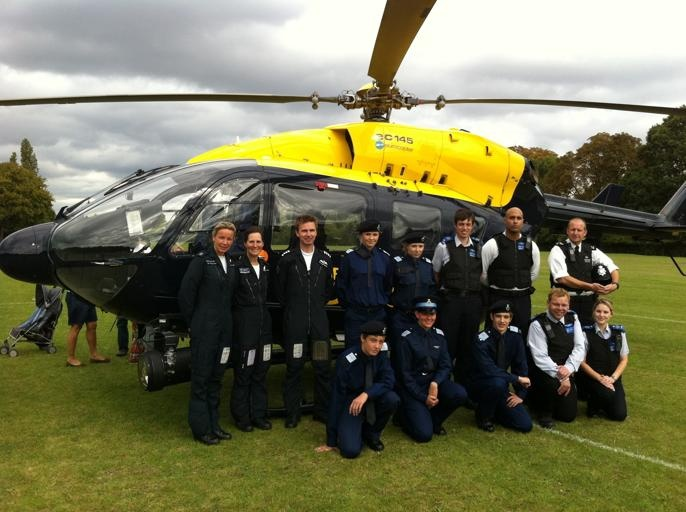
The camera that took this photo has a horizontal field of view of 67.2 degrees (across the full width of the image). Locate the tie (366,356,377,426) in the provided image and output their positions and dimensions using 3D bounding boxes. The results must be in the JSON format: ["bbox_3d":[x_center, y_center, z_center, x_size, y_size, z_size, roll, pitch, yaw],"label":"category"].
[{"bbox_3d":[0.289,1.466,5.497,0.127,0.655,0.257,2,10,-3],"label":"tie"}]

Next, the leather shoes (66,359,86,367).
[{"bbox_3d":[-4.036,1.643,7.804,0.302,0.098,0.093,1,-1,4],"label":"leather shoes"}]

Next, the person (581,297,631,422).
[{"bbox_3d":[3.247,1.281,6.407,0.579,1.418,0.509,6,11,22],"label":"person"}]

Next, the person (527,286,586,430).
[{"bbox_3d":[2.578,1.211,6.211,0.689,1.594,0.611,3,10,7],"label":"person"}]

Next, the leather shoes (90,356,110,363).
[{"bbox_3d":[-3.778,1.625,8.096,0.355,0.114,0.104,0,1,-13],"label":"leather shoes"}]

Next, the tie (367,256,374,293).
[{"bbox_3d":[0.315,0.207,6.091,0.071,0.333,0.146,3,10,2],"label":"tie"}]

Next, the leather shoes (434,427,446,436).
[{"bbox_3d":[1.088,2.007,5.870,0.088,0.038,0.132,0,-6,5],"label":"leather shoes"}]

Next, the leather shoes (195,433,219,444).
[{"bbox_3d":[-1.448,1.971,5.505,0.232,0.087,0.102,-2,-3,20],"label":"leather shoes"}]

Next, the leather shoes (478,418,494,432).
[{"bbox_3d":[1.672,1.967,6.043,0.192,0.118,0.224,3,9,6],"label":"leather shoes"}]

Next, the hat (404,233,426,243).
[{"bbox_3d":[0.865,-0.212,6.331,0.227,0.128,0.291,4,9,16],"label":"hat"}]

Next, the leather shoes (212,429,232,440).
[{"bbox_3d":[-1.309,1.963,5.647,0.227,0.083,0.079,-2,0,31],"label":"leather shoes"}]

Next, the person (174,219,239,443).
[{"bbox_3d":[-1.398,0.982,5.591,0.581,2.032,0.549,-5,12,-34],"label":"person"}]

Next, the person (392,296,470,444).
[{"bbox_3d":[0.954,1.279,5.845,0.691,1.519,0.636,-1,10,-18],"label":"person"}]

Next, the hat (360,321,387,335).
[{"bbox_3d":[0.323,0.779,5.481,0.263,0.137,0.229,-1,9,-17],"label":"hat"}]

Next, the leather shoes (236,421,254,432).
[{"bbox_3d":[-1.107,1.938,5.825,0.199,0.076,0.085,-7,-5,37],"label":"leather shoes"}]

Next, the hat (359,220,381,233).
[{"bbox_3d":[0.313,-0.331,6.152,0.198,0.158,0.238,10,12,41],"label":"hat"}]

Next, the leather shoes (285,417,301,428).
[{"bbox_3d":[-0.588,1.938,5.967,0.129,0.056,0.176,4,-3,-4],"label":"leather shoes"}]

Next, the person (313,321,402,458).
[{"bbox_3d":[0.166,1.389,5.482,0.846,1.355,0.504,-4,12,-33],"label":"person"}]

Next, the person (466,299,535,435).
[{"bbox_3d":[1.862,1.287,6.021,0.753,1.477,0.482,5,10,14],"label":"person"}]
